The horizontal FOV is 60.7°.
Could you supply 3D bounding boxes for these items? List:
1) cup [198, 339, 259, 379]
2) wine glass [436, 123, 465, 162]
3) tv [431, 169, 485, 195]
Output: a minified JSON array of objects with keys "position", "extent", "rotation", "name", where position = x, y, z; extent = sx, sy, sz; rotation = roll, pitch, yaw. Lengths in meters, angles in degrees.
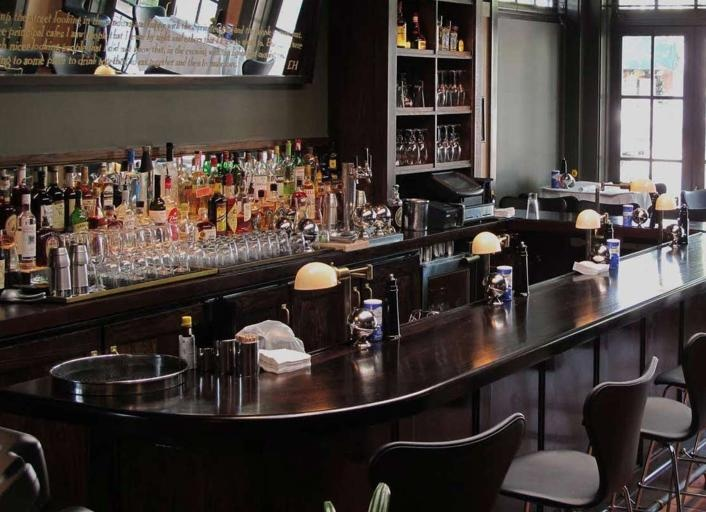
[{"position":[-0.485,0.344,2.345],"extent":[0.206,0.152,0.142],"rotation":[1,-2,-29],"name":"cup"},{"position":[1.005,-1.168,6.270],"extent":[0.146,0.379,0.408],"rotation":[-1,5,24],"name":"wine glass"},{"position":[0.997,-0.677,5.673],"extent":[0.260,0.109,0.342],"rotation":[-14,28,-36],"name":"tv"}]
